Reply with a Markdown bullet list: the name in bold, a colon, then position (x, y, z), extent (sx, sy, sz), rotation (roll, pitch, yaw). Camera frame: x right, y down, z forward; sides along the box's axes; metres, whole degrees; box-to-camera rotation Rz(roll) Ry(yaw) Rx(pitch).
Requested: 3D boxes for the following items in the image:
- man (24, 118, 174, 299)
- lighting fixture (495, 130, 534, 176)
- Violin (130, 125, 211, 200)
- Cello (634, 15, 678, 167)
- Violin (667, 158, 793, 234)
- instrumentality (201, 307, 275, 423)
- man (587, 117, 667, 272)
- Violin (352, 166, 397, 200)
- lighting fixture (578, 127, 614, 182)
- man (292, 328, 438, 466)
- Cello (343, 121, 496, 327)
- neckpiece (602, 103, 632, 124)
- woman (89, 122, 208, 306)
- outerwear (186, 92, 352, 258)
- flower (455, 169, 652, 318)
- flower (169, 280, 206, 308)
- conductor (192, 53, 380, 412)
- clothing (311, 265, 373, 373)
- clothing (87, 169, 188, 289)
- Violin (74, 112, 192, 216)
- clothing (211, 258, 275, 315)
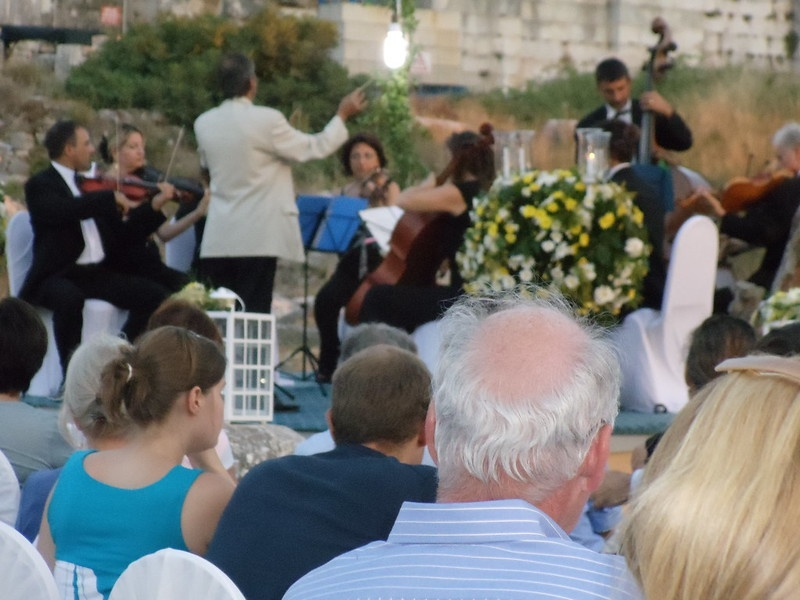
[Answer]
- **man**: position (-1.829, -0.397, 14.076), extent (0.891, 1.345, 0.766), rotation (2, 5, 5)
- **lighting fixture**: position (0.619, -0.786, 12.493), extent (0.199, 0.311, 0.233), rotation (-2, 3, -12)
- **Violin**: position (-1.398, -0.820, 14.446), extent (0.429, 0.444, 0.211), rotation (20, 21, 11)
- **Cello**: position (1.623, -1.370, 14.694), extent (0.214, 1.190, 0.292), rotation (6, 7, 13)
- **Violin**: position (2.096, -0.640, 14.725), extent (0.883, 0.261, 0.243), rotation (-18, -13, -8)
- **instrumentality**: position (-0.931, 0.417, 13.069), extent (0.360, 0.662, 0.386), rotation (-1, -3, 35)
- **man**: position (1.361, -0.682, 14.098), extent (0.226, 1.042, 0.401), rotation (8, 42, 6)
- **Violin**: position (-0.155, -0.733, 14.696), extent (0.173, 0.110, 0.216), rotation (-22, 12, -41)
- **lighting fixture**: position (1.052, -0.768, 12.584), extent (0.187, 0.298, 0.167), rotation (5, -10, -30)
- **man**: position (-0.212, 0.387, 11.714), extent (0.450, 0.391, 0.888), rotation (-13, -29, -4)
- **Cello**: position (0.132, -0.426, 13.237), extent (0.353, 1.292, 0.621), rotation (27, 25, 20)
- **neckpiece**: position (1.419, -1.187, 14.862), extent (0.134, 0.085, 0.200), rotation (-3, 25, 8)
- **woman**: position (-1.692, -0.651, 14.341), extent (0.960, 0.859, 0.354), rotation (-12, 31, -26)
- **outerwear**: position (-0.824, -0.723, 14.126), extent (0.508, 1.196, 0.620), rotation (12, 38, 17)
- **flower**: position (0.823, -0.330, 12.280), extent (0.802, 0.662, 0.765), rotation (-9, 16, -38)
- **flower**: position (-1.162, -0.025, 12.965), extent (0.173, 0.108, 0.410), rotation (5, 8, -7)
- **conductor**: position (-0.714, -0.407, 14.211), extent (1.017, 2.184, 0.884), rotation (2, 6, 8)
- **clothing**: position (-0.420, 0.102, 14.337), extent (0.218, 0.703, 0.339), rotation (16, 7, 25)
- **clothing**: position (-1.615, -0.360, 14.118), extent (0.180, 0.845, 0.454), rotation (-10, -5, 37)
- **Violin**: position (-1.644, -0.789, 14.258), extent (0.594, 0.257, 0.420), rotation (0, 42, 41)
- **clothing**: position (-0.941, -0.107, 13.900), extent (0.326, 0.360, 0.345), rotation (2, 6, 17)
